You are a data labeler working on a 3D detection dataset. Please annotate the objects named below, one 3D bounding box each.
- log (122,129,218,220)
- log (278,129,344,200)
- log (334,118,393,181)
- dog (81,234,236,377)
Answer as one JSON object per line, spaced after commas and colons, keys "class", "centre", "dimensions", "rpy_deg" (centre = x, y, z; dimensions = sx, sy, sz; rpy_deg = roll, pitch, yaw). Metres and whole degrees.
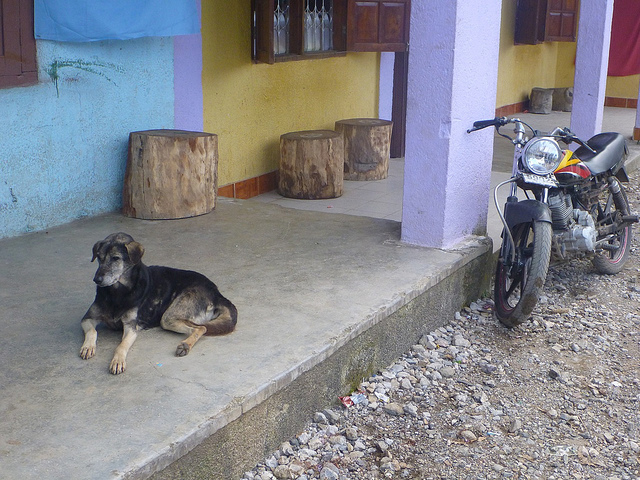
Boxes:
{"class": "log", "centre": [-1.480, -0.640, 5.455], "dimensions": [0.963, 0.907, 0.876], "rpy_deg": [3, 11, -3]}
{"class": "log", "centre": [-0.110, -1.151, 7.100], "dimensions": [0.929, 0.873, 0.905], "rpy_deg": [3, 33, 6]}
{"class": "log", "centre": [0.683, -1.408, 7.996], "dimensions": [0.874, 0.845, 0.837], "rpy_deg": [5, 23, 18]}
{"class": "dog", "centre": [-0.930, 0.327, 3.204], "dimensions": [0.827, 0.592, 1.111], "rpy_deg": [8, 3, 35]}
